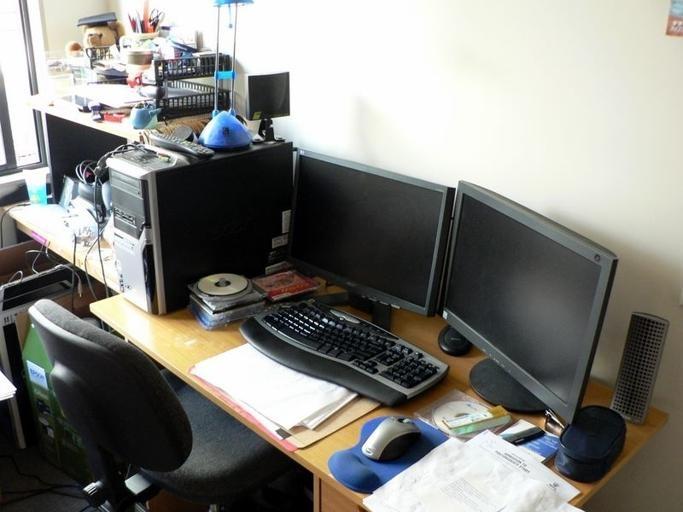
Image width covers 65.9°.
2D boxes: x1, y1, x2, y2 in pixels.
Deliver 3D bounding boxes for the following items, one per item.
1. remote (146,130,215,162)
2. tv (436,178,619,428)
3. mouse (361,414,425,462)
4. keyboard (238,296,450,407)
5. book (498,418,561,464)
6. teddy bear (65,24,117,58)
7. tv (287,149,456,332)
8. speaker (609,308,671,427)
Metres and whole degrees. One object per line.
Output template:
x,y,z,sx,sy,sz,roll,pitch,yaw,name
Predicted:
-0.563,-0.392,1.820,0.308,0.075,0.089,28,38,28,remote
0.454,0.088,1.403,0.149,0.441,0.544,-9,27,-18,tv
0.124,0.435,1.299,0.105,0.065,0.172,10,21,43,mouse
-0.016,0.286,1.680,0.349,0.104,0.714,1,10,-45,keyboard
0.476,0.457,1.332,0.129,0.018,0.116,20,32,35,book
-1.156,-1.001,2.435,0.211,0.128,0.167,3,26,7,teddy bear
0.111,-0.045,1.716,0.469,0.433,0.137,26,32,32,tv
0.764,0.291,1.368,0.083,0.280,0.092,13,28,26,speaker
